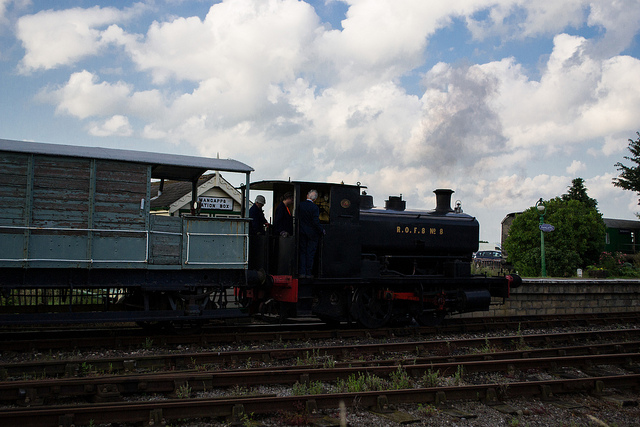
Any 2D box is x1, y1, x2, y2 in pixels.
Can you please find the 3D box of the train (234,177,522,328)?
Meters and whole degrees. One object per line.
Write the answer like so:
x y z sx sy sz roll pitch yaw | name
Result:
1.811 1.209 15.272 8.622 3.919 3.051 2 -1 -23 | train
